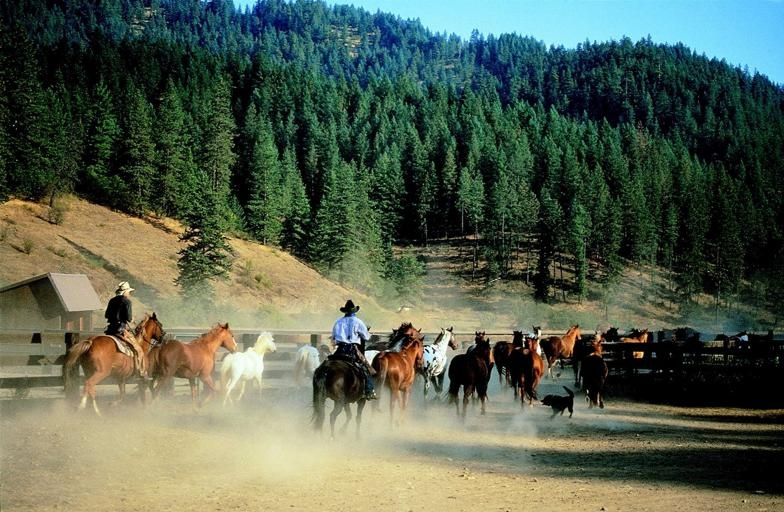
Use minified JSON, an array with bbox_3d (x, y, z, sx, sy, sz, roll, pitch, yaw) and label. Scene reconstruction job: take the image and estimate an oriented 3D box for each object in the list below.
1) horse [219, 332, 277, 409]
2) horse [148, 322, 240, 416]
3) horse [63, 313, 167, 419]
[{"bbox_3d":[-12.850,10.293,80.234,1.895,5.792,6.648,20,38,32],"label":"horse"},{"bbox_3d":[-17.539,9.399,78.177,2.263,6.696,8.604,5,0,43],"label":"horse"},{"bbox_3d":[-23.857,9.164,78.256,2.798,7.916,10.596,7,7,30],"label":"horse"}]
